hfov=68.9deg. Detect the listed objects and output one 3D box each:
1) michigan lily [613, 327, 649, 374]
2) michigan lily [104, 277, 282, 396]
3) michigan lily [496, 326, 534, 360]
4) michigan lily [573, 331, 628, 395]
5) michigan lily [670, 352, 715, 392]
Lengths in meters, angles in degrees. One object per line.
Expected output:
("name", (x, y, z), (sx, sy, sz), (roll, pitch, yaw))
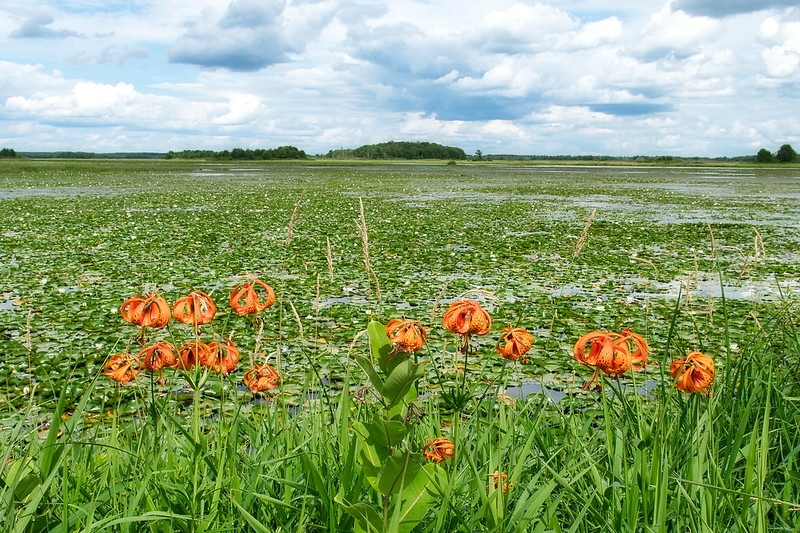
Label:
("michigan lily", (1.414, 0.532, 3.553), (0.182, 0.109, 0.207), (26, 17, 31))
("michigan lily", (-1.416, 0.490, 4.056), (1.121, 0.570, 0.841), (4, 24, -13))
("michigan lily", (0.712, 0.498, 3.691), (0.216, 0.208, 0.146), (-3, -31, 35))
("michigan lily", (1.252, 0.614, 3.601), (0.338, 0.342, 0.321), (18, -6, -27))
("michigan lily", (1.796, 0.657, 3.594), (0.225, 0.310, 0.197), (6, 11, 23))
